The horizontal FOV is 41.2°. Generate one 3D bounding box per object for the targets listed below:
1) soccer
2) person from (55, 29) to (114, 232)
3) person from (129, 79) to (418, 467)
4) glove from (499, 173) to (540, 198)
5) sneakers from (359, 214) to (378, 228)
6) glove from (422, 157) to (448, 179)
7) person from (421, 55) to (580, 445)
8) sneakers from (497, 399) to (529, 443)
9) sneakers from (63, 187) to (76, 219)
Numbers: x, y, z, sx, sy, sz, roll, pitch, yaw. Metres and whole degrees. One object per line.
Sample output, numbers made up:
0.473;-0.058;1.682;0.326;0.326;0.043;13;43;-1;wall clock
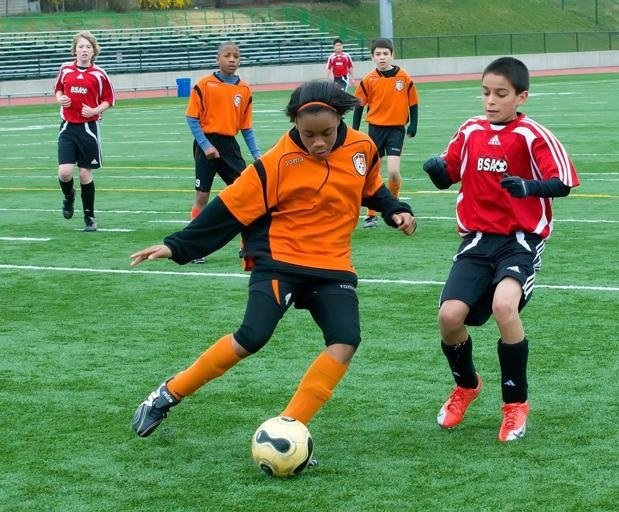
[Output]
-0.094;0.848;3.680;0.306;0.259;0.258;7;-21;-1;soccer
-2.405;-1.322;8.827;0.636;2.116;0.665;-5;11;-16;person
-0.127;0.105;3.775;1.313;1.383;0.508;-4;10;-10;person
0.938;-0.314;3.657;0.101;0.041;0.129;-4;19;-44;glove
0.622;-0.389;9.132;0.242;0.149;0.078;7;14;27;sneakers
0.610;-0.458;4.131;0.100;0.105;0.116;13;-8;30;glove
0.915;-0.049;4.000;0.700;1.814;0.635;-1;10;7;person
0.978;0.795;3.962;0.091;0.093;0.260;0;11;24;sneakers
-2.697;-0.566;9.180;0.158;0.398;0.171;1;9;-7;sneakers
